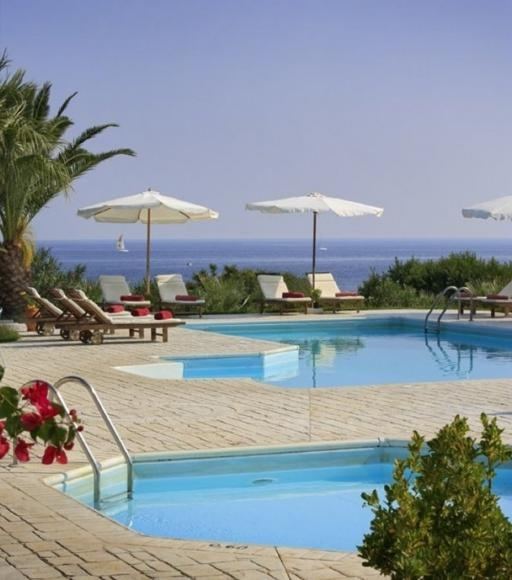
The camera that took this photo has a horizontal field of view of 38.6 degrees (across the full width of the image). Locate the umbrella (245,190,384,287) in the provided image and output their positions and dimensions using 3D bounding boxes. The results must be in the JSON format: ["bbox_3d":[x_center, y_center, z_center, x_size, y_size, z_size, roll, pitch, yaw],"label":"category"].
[{"bbox_3d":[1.473,-1.369,18.238,2.535,2.121,2.428,-5,9,-24],"label":"umbrella"}]

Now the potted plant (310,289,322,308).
[{"bbox_3d":[1.436,0.191,17.898,0.259,0.447,0.687,7,2,5],"label":"potted plant"}]

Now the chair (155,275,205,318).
[{"bbox_3d":[-1.760,0.075,16.475,0.719,0.829,1.207,-6,8,-28],"label":"chair"}]

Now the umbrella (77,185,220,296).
[{"bbox_3d":[-2.703,-1.101,18.450,2.385,2.058,2.363,3,14,9],"label":"umbrella"}]

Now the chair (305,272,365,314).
[{"bbox_3d":[1.921,0.045,18.134,0.838,0.843,1.428,-3,7,-30],"label":"chair"}]

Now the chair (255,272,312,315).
[{"bbox_3d":[0.641,0.076,17.259,0.795,0.826,1.332,0,3,-27],"label":"chair"}]

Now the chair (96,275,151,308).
[{"bbox_3d":[-2.870,0.017,15.922,0.662,0.649,1.186,-1,2,-37],"label":"chair"}]
